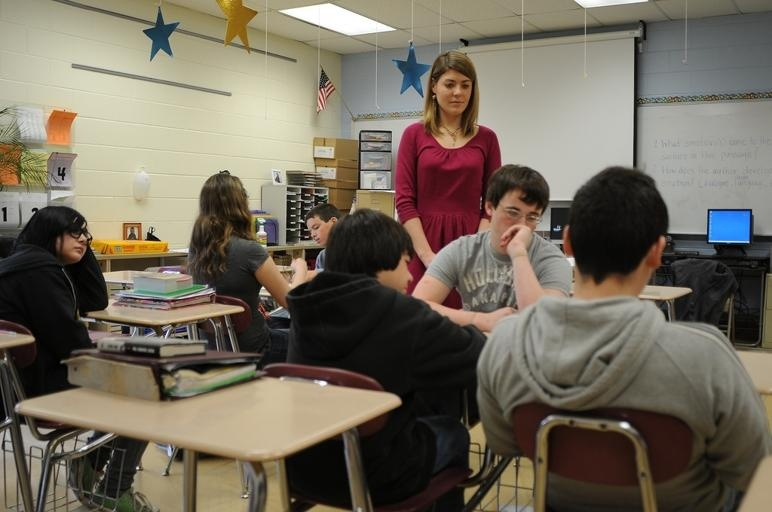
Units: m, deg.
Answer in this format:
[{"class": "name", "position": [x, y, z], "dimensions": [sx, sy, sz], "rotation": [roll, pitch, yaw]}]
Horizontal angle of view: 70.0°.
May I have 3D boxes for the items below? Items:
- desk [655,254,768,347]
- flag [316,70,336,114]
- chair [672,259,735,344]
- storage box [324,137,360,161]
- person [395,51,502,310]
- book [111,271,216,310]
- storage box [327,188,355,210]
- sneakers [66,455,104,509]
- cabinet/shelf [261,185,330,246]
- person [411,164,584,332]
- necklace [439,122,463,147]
[{"class": "desk", "position": [2.903, 0.337, 4.860], "dimensions": [0.904, 0.641, 0.475], "rotation": [7, 20, 37]}, {"class": "flag", "position": [-0.904, -2.519, 8.393], "dimensions": [0.245, 0.651, 0.569], "rotation": [0, 8, 20]}, {"class": "chair", "position": [3.199, 0.341, 5.610], "dimensions": [0.381, 0.630, 0.501], "rotation": [-10, 28, -41]}, {"class": "storage box", "position": [-0.608, -1.594, 8.189], "dimensions": [0.363, 0.233, 0.363], "rotation": [0, 2, -28]}, {"class": "person", "position": [0.329, -0.125, 2.823], "dimensions": [0.499, 1.717, 0.582], "rotation": [-2, 17, -1]}, {"class": "book", "position": [-1.243, 0.202, 3.203], "dimensions": [0.301, 0.106, 0.300], "rotation": [3, 4, 29]}, {"class": "storage box", "position": [-0.650, -0.851, 8.231], "dimensions": [0.318, 0.301, 0.322], "rotation": [5, 8, 37]}, {"class": "sneakers", "position": [-1.344, 1.001, 2.450], "dimensions": [0.065, 0.259, 0.181], "rotation": [-7, 12, -29]}, {"class": "cabinet/shelf", "position": [-1.179, -0.492, 6.832], "dimensions": [0.327, 0.758, 0.859], "rotation": [2, 3, 37]}, {"class": "person", "position": [0.486, 0.180, 2.370], "dimensions": [0.573, 1.035, 0.576], "rotation": [4, 5, 20]}, {"class": "necklace", "position": [0.328, -0.591, 2.721], "dimensions": [0.134, 0.117, 0.044], "rotation": [-2, 8, 3]}]
